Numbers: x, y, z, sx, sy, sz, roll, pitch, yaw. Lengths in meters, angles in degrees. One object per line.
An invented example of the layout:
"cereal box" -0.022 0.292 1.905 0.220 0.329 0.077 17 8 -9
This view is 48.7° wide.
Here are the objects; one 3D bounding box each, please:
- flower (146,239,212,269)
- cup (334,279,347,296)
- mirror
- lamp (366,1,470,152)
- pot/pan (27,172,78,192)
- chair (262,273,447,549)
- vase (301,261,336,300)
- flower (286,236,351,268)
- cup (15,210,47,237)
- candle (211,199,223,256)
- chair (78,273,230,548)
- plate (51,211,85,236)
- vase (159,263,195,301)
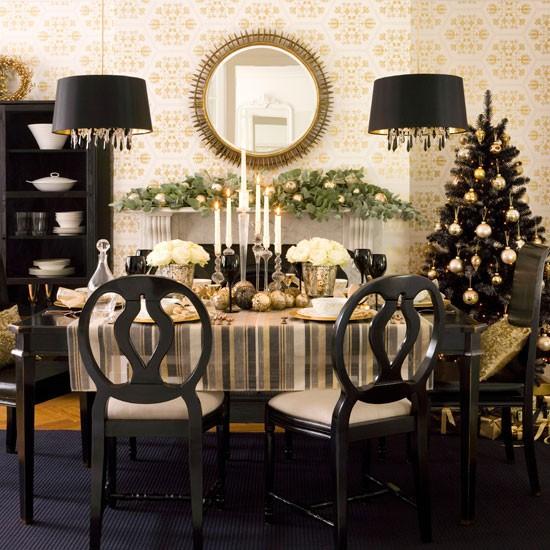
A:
"flower" -0.402 -0.086 2.519 0.251 0.111 0.156 0 5 -15
"cup" 0.305 0.061 2.777 0.059 0.050 0.065 0 1 0
"mirror" -0.095 -1.220 4.286 0.977 0.054 1.119 0 -41 -4
"lamp" 0.693 -0.788 2.928 0.429 0.376 0.467 -5 14 -7
"pot/pan" -1.556 -0.652 4.255 0.323 0.156 0.363 -1 6 -22
"chair" 0.272 0.474 2.121 0.609 0.986 0.458 1 5 -2
"vase" 0.192 0.018 2.614 0.155 0.158 0.160 6 9 39
"flower" 0.177 -0.092 2.496 0.254 0.114 0.118 2 5 4
"cup" -1.660 -0.348 4.139 0.148 0.143 0.178 1 -5 -2
"candle" -0.241 -0.190 2.504 0.026 0.230 0.150 0 5 -9
"chair" -0.422 0.476 2.176 0.502 0.996 0.493 1 5 -6
"plate" -1.424 -0.355 4.203 0.203 0.168 0.156 -1 6 -27
"vase" -0.405 0.038 2.558 0.135 0.190 0.167 -1 9 -11
